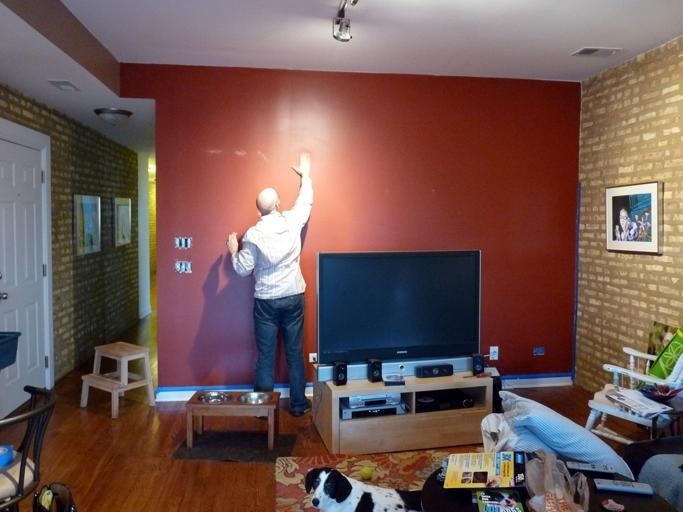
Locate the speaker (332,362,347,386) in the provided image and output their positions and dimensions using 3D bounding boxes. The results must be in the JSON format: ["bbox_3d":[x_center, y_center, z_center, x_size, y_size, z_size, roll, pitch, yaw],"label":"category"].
[{"bbox_3d":[-0.002,0.975,4.311,0.132,0.174,0.116,-2,8,-14],"label":"speaker"}]

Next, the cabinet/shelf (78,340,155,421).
[{"bbox_3d":[-2.192,1.128,5.165,0.703,0.726,0.614,1,-1,36],"label":"cabinet/shelf"}]

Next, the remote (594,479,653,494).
[{"bbox_3d":[1.552,1.273,2.862,0.210,0.031,0.121,1,2,3],"label":"remote"}]

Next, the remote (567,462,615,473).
[{"bbox_3d":[1.441,1.228,3.004,0.166,0.018,0.091,2,0,3],"label":"remote"}]

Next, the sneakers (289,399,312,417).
[{"bbox_3d":[-0.389,1.429,4.919,0.096,0.107,0.236,1,7,7],"label":"sneakers"}]

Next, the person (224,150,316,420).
[{"bbox_3d":[-0.607,0.255,4.894,0.823,2.444,0.593,-4,8,-30],"label":"person"}]
